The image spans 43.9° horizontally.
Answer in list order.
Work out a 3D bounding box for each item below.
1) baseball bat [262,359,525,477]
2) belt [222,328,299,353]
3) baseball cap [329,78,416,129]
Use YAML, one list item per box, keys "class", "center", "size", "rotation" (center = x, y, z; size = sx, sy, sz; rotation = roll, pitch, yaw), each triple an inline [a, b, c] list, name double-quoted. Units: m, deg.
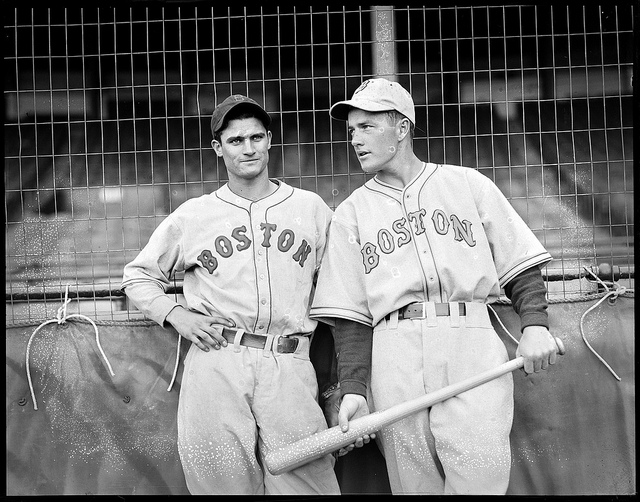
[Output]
- class: "baseball bat"
  center: [0.335, 0.801, 3.888]
  size: [1.415, 0.126, 0.118]
  rotation: [-25, 12, -10]
- class: "belt"
  center: [-0.298, 0.449, 4.022]
  size: [0.383, 0.134, 0.038]
  rotation: [-2, -15, -6]
- class: "baseball cap"
  center: [0.295, -0.780, 4.107]
  size: [0.451, 0.243, 0.323]
  rotation: [11, -2, -39]
